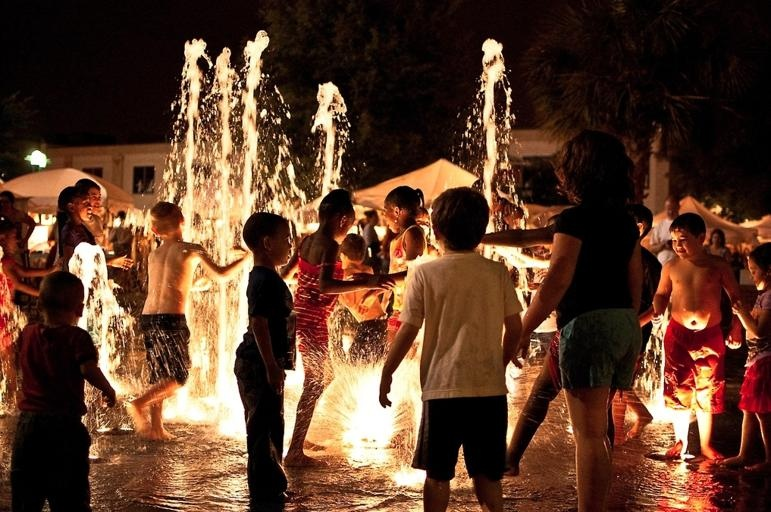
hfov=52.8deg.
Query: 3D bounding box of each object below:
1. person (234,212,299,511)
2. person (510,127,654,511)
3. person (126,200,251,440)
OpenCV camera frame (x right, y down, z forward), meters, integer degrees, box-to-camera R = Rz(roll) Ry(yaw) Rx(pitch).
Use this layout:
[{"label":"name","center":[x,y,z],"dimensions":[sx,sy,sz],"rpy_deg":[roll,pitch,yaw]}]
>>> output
[{"label":"person","center":[-0.972,0.810,6.288],"dimensions":[0.467,2.369,0.507],"rpy_deg":[3,-8,-10]},{"label":"person","center":[1.451,0.430,5.576],"dimensions":[0.818,2.715,0.263],"rpy_deg":[3,-8,-12]},{"label":"person","center":[-2.071,0.628,7.715],"dimensions":[0.803,2.344,0.393],"rpy_deg":[2,-8,-8]}]
